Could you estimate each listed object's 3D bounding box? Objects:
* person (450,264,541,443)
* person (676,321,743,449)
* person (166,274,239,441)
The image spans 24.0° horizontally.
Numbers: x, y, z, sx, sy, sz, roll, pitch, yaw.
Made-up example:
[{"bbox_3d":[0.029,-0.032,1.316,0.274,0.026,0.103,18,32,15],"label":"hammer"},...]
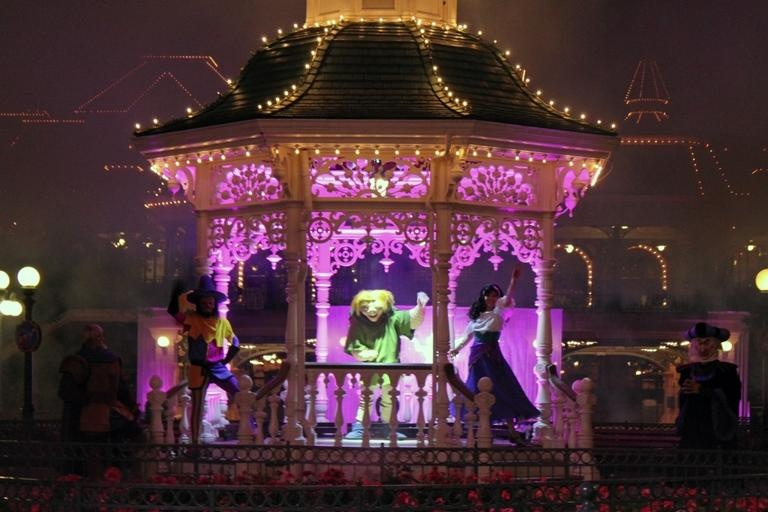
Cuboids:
[{"bbox_3d":[2.228,2.181,36.177,1.477,3.205,0.602,0,-17,3],"label":"person"},{"bbox_3d":[6.251,2.613,35.113,1.269,2.462,0.951,0,-7,37],"label":"person"},{"bbox_3d":[-3.546,2.098,35.000,1.501,3.018,0.712,13,-20,-35],"label":"person"}]
